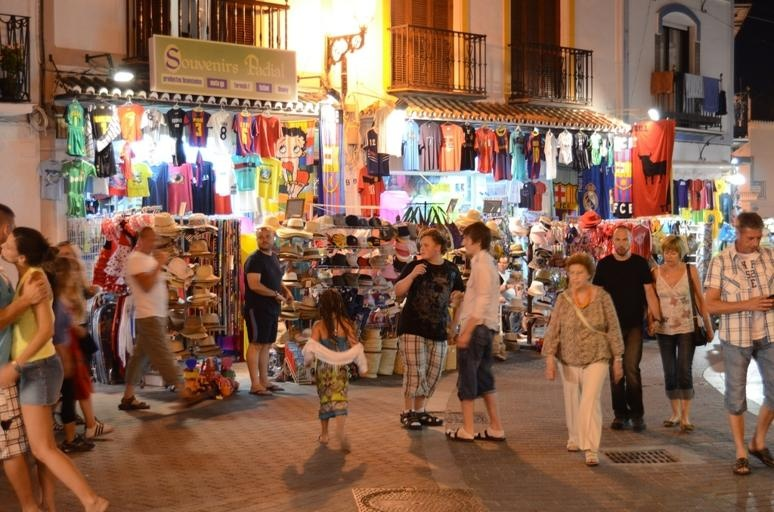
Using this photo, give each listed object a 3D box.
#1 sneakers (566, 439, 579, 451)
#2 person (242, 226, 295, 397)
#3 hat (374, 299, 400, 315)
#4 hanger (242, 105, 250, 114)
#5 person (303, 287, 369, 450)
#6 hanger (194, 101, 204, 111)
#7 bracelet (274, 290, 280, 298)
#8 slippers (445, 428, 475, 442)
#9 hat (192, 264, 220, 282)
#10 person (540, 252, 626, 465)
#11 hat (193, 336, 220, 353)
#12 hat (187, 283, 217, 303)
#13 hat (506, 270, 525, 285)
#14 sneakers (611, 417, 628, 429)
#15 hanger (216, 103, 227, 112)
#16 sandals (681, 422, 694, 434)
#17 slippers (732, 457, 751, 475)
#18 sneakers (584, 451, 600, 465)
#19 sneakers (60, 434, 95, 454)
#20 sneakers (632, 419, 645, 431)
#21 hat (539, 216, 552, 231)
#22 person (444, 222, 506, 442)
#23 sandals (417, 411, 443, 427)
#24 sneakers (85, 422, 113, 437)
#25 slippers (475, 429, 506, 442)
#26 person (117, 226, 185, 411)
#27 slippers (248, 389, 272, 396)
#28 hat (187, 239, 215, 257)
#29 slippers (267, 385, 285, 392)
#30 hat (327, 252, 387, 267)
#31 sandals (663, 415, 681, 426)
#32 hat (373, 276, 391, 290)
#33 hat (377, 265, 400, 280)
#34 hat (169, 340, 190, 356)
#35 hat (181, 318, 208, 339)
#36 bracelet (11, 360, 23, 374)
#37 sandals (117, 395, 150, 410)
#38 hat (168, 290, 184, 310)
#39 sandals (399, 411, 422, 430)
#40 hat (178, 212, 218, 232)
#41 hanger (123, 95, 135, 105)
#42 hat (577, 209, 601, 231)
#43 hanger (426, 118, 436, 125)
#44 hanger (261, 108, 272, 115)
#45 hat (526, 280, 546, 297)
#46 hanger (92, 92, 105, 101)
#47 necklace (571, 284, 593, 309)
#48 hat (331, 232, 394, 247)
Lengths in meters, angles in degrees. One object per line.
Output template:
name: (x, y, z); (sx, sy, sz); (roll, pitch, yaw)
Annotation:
sneakers: (2.310, 2.357, 10.010); (0.094, 0.045, 0.145); (0, 4, -5)
person: (-1.943, 0.867, 12.703); (0.450, 2.628, 0.687); (5, 9, 42)
hat: (0.036, 0.931, 14.385); (0.474, 0.183, 0.376); (-3, 2, 43)
hanger: (-2.788, -2.878, 15.854); (0.118, 0.210, 0.562); (-2, 7, -9)
person: (-0.658, 1.417, 10.474); (0.775, 1.904, 0.977); (-3, 7, -20)
hanger: (-3.627, -2.869, 15.497); (0.206, 0.198, 0.053); (-6, -5, 28)
bracelet: (-1.729, 0.602, 12.688); (0.024, 0.083, 0.082); (-26, 0, 12)
slippers: (0.950, 2.310, 10.391); (0.322, 0.123, 0.153); (1, 0, 45)
hat: (-2.880, 0.283, 12.684); (0.284, 0.158, 0.287); (-9, -4, 39)
person: (2.362, 1.228, 9.714); (0.890, 2.455, 0.693); (3, 7, 29)
hat: (-2.801, 1.390, 12.468); (0.267, 0.147, 0.276); (-5, -3, 43)
hat: (-2.946, 0.605, 12.711); (0.320, 0.183, 0.299); (-10, -1, -32)
hat: (2.820, 0.477, 17.512); (0.375, 0.264, 0.355); (0, 7, 5)
sneakers: (3.158, 2.273, 10.903); (0.095, 0.123, 0.280); (5, 9, 34)
hanger: (-3.219, -2.950, 15.740); (0.192, 0.137, 0.069); (-15, 37, -31)
sandals: (4.031, 2.300, 10.738); (0.095, 0.077, 0.220); (-3, 0, 3)
slippers: (4.092, 2.415, 9.247); (0.108, 0.089, 0.287); (1, 6, 9)
sneakers: (2.459, 2.386, 9.514); (0.198, 0.166, 0.154); (-1, 7, -5)
sneakers: (-3.801, 2.301, 9.839); (0.397, 0.198, 0.176); (0, 3, -8)
sneakers: (3.399, 2.274, 10.813); (0.102, 0.135, 0.195); (2, 8, 18)
hat: (3.465, -0.718, 17.428); (0.264, 0.273, 0.368); (0, 7, 9)
person: (1.156, 0.976, 10.251); (0.689, 2.797, 0.379); (-3, 7, -16)
sandals: (0.585, 2.224, 10.980); (0.427, 0.177, 0.150); (1, 1, 0)
sneakers: (-3.731, 2.238, 10.365); (0.134, 0.141, 0.289); (10, 15, 36)
slippers: (1.338, 2.321, 10.340); (0.374, 0.147, 0.154); (3, 1, 16)
person: (-3.296, 0.930, 11.087); (0.794, 2.682, 1.206); (-3, 7, -22)
slippers: (-1.979, 2.151, 12.620); (0.236, 0.058, 0.120); (-1, -1, 17)
hat: (-3.002, -0.119, 12.844); (0.295, 0.171, 0.291); (-8, 1, 10)
slippers: (-1.794, 2.121, 12.867); (0.262, 0.073, 0.100); (-2, -1, 32)
hat: (-0.535, 0.077, 14.271); (1.122, 0.282, 0.255); (-3, 7, -17)
sandals: (3.904, 2.279, 11.016); (0.093, 0.115, 0.265); (-8, -12, 40)
hat: (-0.072, 0.485, 14.283); (0.468, 0.260, 0.199); (-7, 9, -44)
hat: (0.038, 0.303, 14.474); (0.099, 0.249, 0.348); (9, -6, 43)
hat: (-3.184, 1.384, 12.342); (0.280, 0.331, 0.366); (-4, -15, -16)
hat: (-2.981, 1.137, 12.404); (0.297, 0.180, 0.326); (3, 3, 7)
bracelet: (-3.497, 1.044, 7.566); (0.041, 0.113, 0.112); (-18, 19, -26)
sandals: (-3.677, 2.142, 11.661); (0.394, 0.176, 0.207); (1, 0, -12)
hat: (-3.284, 0.682, 12.496); (0.197, 0.228, 0.254); (7, -24, -10)
sandals: (0.333, 2.220, 10.851); (0.283, 0.206, 0.169); (-2, 3, 17)
hat: (-2.986, -0.526, 12.807); (0.514, 0.174, 0.531); (-1, 3, -42)
hanger: (-4.824, -2.910, 14.966); (0.199, 0.282, 0.013); (4, 28, -1)
hat: (4.320, -0.736, 17.042); (0.398, 0.408, 0.498); (0, 7, 6)
hanger: (0.991, -3.041, 18.082); (0.183, 0.184, 0.056); (1, 1, -16)
hanger: (-2.425, -2.929, 16.327); (0.141, 0.115, 0.271); (4, 8, 35)
hat: (3.191, 0.695, 16.982); (0.318, 0.189, 0.313); (2, 1, -34)
hanger: (-5.296, -2.939, 14.809); (0.154, 0.116, 0.160); (8, 11, 37)
necklace: (2.383, 0.489, 9.755); (0.249, 0.263, 0.098); (-4, -4, 21)
hat: (-0.456, -0.326, 14.628); (1.127, 0.356, 0.535); (-1, 7, -4)
